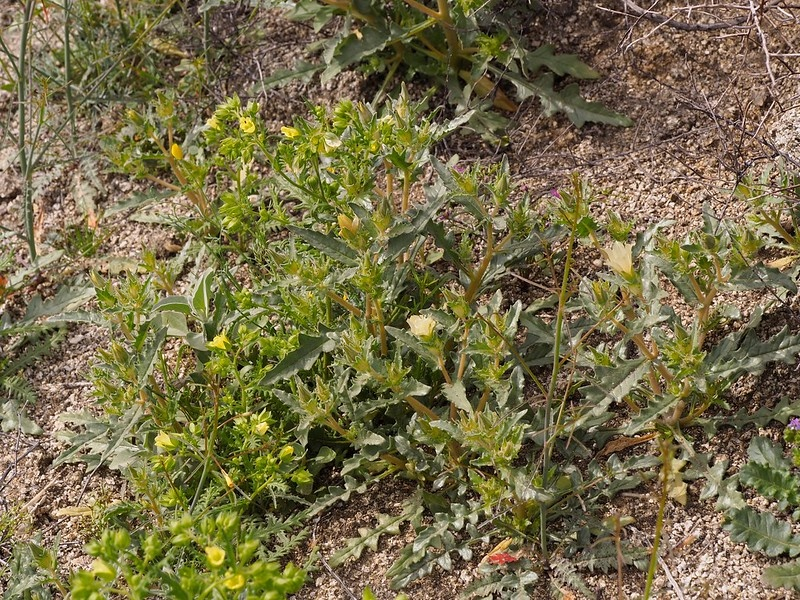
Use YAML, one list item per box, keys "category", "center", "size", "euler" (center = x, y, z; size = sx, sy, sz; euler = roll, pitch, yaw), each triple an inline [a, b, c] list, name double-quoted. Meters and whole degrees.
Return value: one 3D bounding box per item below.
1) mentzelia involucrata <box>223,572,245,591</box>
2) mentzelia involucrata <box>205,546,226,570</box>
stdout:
- category: "mentzelia involucrata"
  center: [-0.388, 0.675, 2.058]
  size: [0.046, 0.052, 0.031]
  euler: [7, 51, 6]
- category: "mentzelia involucrata"
  center: [-0.428, 0.603, 2.032]
  size: [0.046, 0.042, 0.046]
  euler: [21, 97, -5]
